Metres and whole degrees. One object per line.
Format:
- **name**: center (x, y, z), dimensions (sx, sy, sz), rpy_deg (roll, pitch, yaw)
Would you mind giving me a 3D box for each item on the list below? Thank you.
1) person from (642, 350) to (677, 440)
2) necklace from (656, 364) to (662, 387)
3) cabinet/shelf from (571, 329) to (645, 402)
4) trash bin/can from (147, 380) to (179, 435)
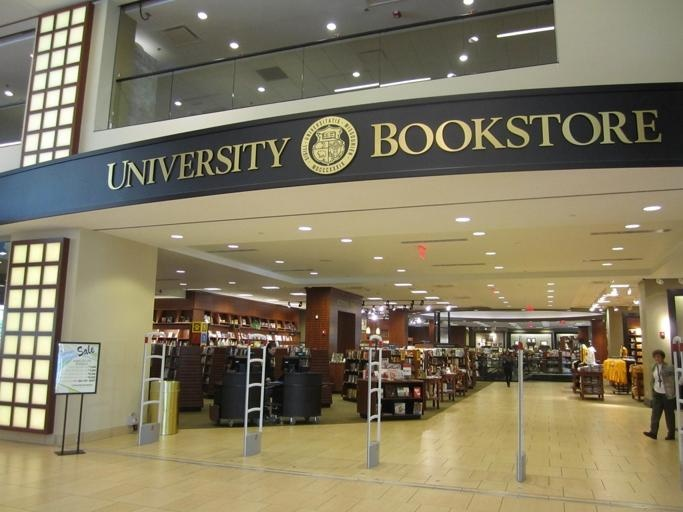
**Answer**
- **person**: center (6.516, 2.892, 10.586), dimensions (0.615, 1.820, 1.117), rpy_deg (-7, -15, 29)
- **necklace**: center (6.467, 2.467, 10.444), dimensions (0.069, 0.438, 0.130), rpy_deg (3, -13, -13)
- **cabinet/shelf**: center (9.857, 3.659, 19.368), dimensions (1.954, 2.081, 3.254), rpy_deg (0, -7, 11)
- **trash bin/can**: center (-3.717, 3.142, 10.587), dimensions (0.612, 1.070, 0.557), rpy_deg (1, -13, -7)
